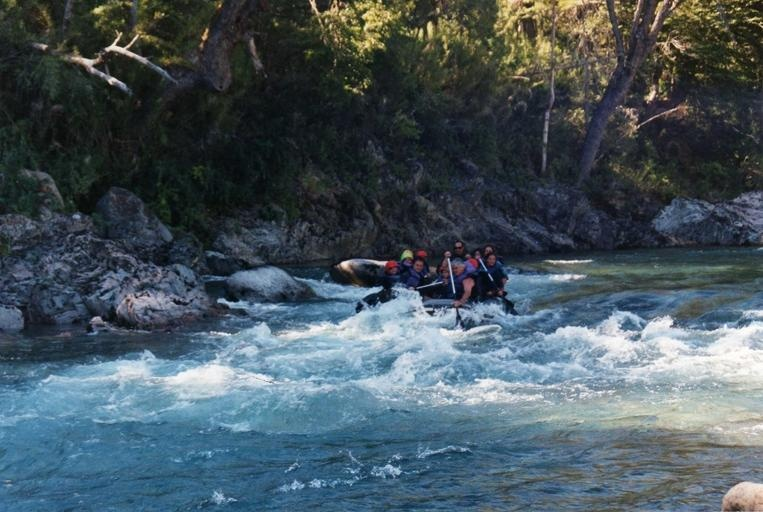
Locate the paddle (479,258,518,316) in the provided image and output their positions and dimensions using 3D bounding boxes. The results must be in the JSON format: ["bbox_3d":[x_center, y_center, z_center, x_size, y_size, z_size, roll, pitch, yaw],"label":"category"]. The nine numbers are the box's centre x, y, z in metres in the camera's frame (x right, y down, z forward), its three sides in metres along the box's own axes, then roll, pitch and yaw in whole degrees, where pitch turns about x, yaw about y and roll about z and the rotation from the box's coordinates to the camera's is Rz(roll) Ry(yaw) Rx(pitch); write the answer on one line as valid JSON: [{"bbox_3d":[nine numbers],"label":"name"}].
[{"bbox_3d":[3.254,0.934,26.186,0.970,2.000,0.716,-12,13,8],"label":"paddle"}]

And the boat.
[{"bbox_3d":[1.538,1.431,24.680,2.947,0.690,1.707,7,-8,0],"label":"boat"}]

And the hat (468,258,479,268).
[{"bbox_3d":[2.573,0.187,25.660,0.302,0.216,0.295,-3,-9,21],"label":"hat"}]
